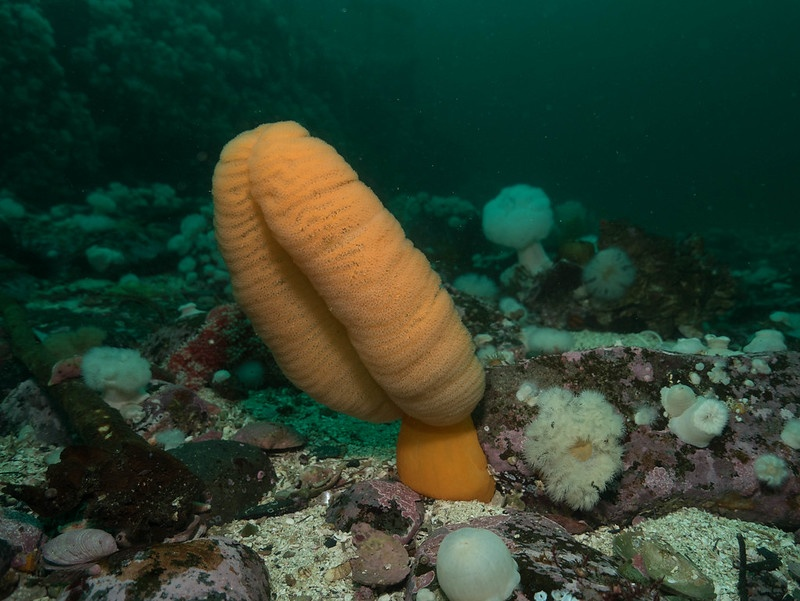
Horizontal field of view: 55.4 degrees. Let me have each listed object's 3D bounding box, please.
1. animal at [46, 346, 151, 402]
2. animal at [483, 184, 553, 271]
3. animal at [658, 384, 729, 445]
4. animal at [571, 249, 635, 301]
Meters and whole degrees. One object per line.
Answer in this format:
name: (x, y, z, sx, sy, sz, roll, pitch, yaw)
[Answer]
animal: (-2.151, 0.609, 5.528, 0.620, 0.487, 0.211, 5, 100, -6)
animal: (0.991, -0.657, 6.460, 0.495, 0.639, 0.443, -29, 18, -7)
animal: (1.801, 0.712, 4.702, 0.413, 0.244, 0.279, 15, 62, 21)
animal: (1.741, -0.211, 6.358, 0.427, 0.257, 0.320, -33, 57, -10)
